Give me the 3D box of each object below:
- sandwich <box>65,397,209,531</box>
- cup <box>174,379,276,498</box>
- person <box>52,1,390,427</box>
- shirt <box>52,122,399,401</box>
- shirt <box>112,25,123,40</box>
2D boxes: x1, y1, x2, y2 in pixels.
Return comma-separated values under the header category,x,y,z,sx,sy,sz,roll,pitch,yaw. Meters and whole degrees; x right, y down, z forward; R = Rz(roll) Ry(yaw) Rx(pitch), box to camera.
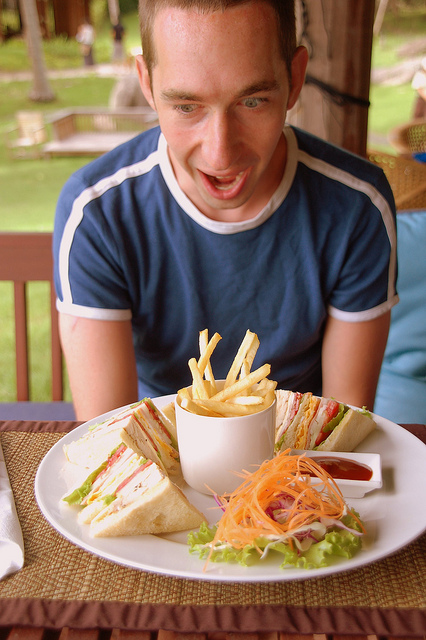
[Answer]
category,x,y,z,sx,sy,sz,roll,pitch,yaw
sandwich,-0.106,0.199,0.719,0.058,0.164,0.148,-11,69,-2
cup,0.017,0.170,0.797,0.139,0.122,0.150,0,18,0
person,0.055,-0.191,1.314,0.911,1.051,0.544,-7,28,-12
shirt,0.036,-0.128,1.301,0.851,0.786,0.432,-3,33,-3
shirt,-2.020,-6.154,11.005,0.209,0.262,0.420,-5,27,-7
